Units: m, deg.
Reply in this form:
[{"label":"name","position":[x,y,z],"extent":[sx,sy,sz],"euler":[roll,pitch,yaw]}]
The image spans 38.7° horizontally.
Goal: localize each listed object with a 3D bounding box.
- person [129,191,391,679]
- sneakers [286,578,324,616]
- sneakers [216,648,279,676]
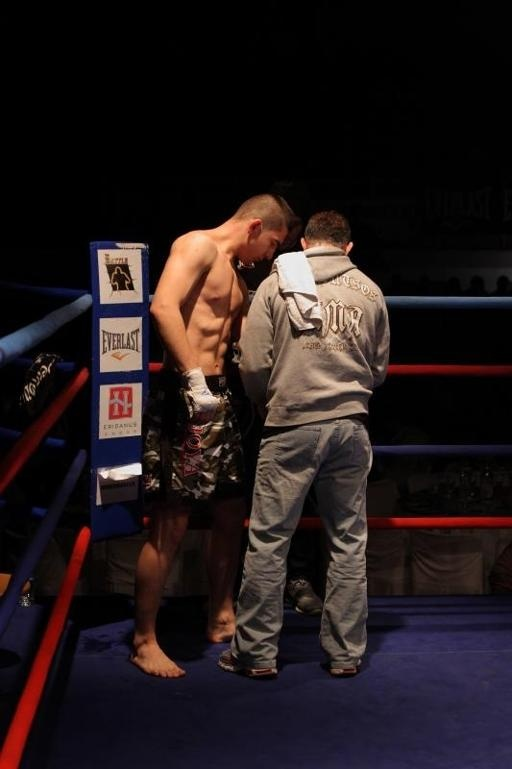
[{"label":"person","position":[-0.147,0.097,2.025],"extent":[0.313,1.285,0.558],"euler":[3,6,20]},{"label":"sneakers","position":[0.155,0.677,2.300],"extent":[0.061,0.068,0.149],"euler":[-2,-7,-19]},{"label":"sneakers","position":[-0.020,0.720,1.855],"extent":[0.138,0.065,0.061],"euler":[10,5,41]}]
